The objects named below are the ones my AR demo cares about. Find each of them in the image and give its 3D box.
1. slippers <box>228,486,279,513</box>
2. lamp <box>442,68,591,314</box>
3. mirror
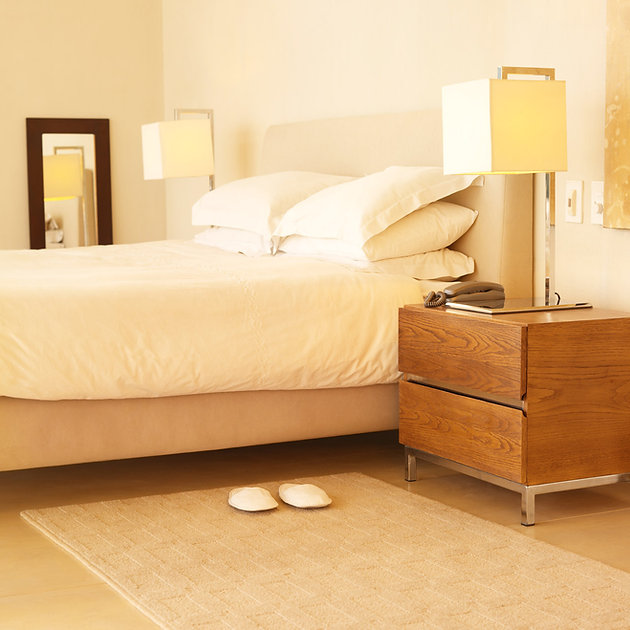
[{"bbox_3d":[-0.171,0.498,1.782,0.091,0.021,0.074,2,4,-23],"label":"slippers"},{"bbox_3d":[0.543,-0.349,1.899,0.276,0.644,0.245,-1,1,-21],"label":"lamp"},{"bbox_3d":[-1.982,-0.916,5.315,0.688,1.217,0.089,2,10,2],"label":"mirror"}]
